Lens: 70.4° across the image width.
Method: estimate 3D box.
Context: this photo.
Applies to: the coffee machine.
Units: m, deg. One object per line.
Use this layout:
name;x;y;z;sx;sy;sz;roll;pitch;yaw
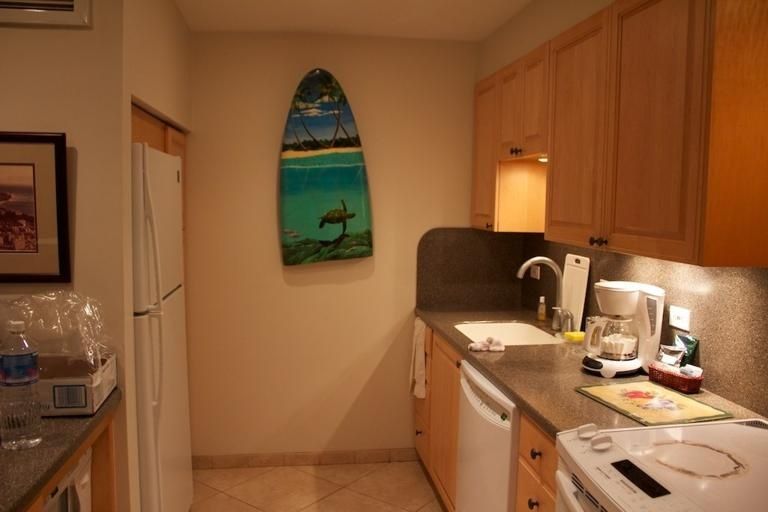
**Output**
coffee machine;1.105;0.338;2.764;0.441;0.531;0.368;1;5;8
